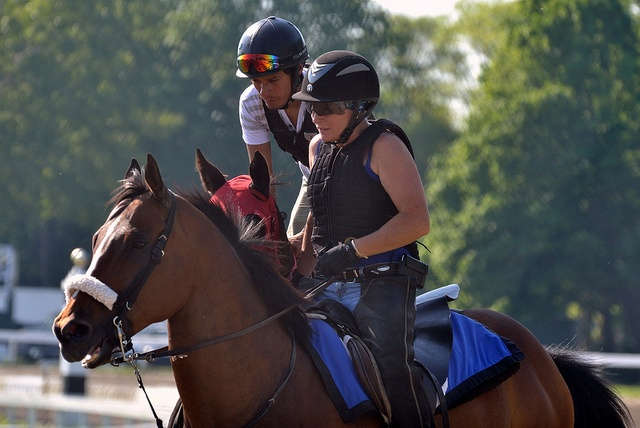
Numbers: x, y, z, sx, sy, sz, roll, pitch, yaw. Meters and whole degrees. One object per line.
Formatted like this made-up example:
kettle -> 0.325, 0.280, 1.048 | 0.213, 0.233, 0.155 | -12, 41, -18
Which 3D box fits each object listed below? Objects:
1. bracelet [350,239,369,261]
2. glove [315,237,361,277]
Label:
bracelet -> 0.742, 0.726, 22.657 | 0.356, 0.087, 0.368 | 42, -7, 32
glove -> 0.397, 0.904, 22.829 | 0.823, 0.356, 0.617 | -27, 3, 19
